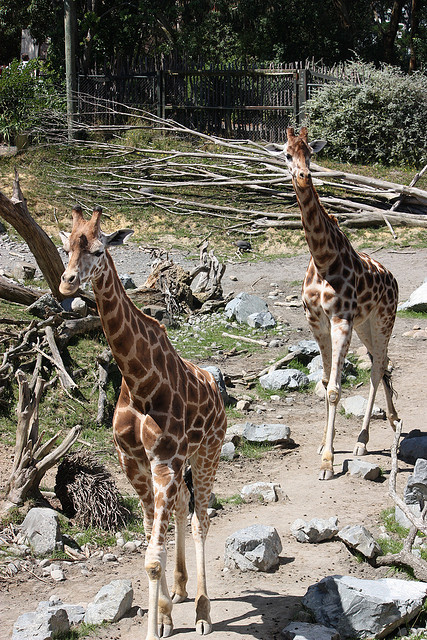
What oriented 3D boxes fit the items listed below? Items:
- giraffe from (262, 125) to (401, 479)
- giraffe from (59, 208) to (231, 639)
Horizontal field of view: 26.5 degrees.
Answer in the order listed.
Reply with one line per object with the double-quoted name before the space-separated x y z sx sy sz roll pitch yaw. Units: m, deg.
"giraffe" 1.198 -0.263 9.068 0.875 3.257 1.845 5 14 25
"giraffe" -0.413 0.671 6.148 0.987 2.889 2.043 0 12 0
